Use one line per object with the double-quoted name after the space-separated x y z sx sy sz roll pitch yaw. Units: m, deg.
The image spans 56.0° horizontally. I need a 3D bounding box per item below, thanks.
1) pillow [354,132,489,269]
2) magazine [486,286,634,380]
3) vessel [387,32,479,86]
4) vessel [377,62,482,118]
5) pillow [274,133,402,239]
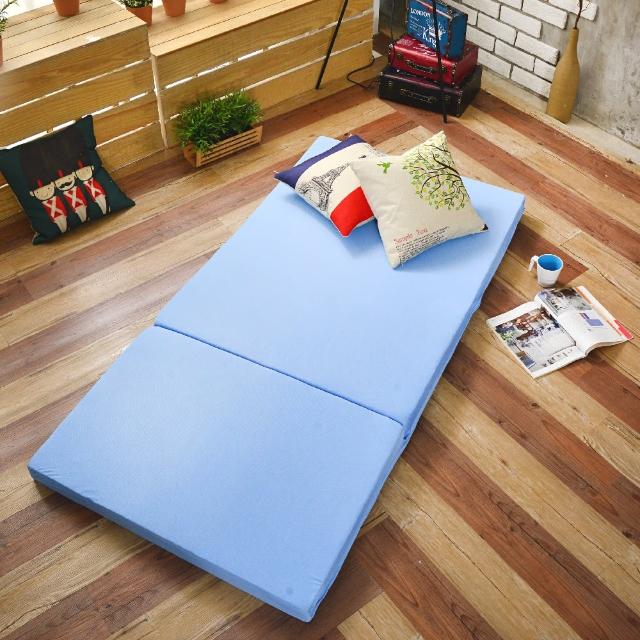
0.322 -0.490 2.487 0.594 0.168 0.472 -20 84 -27 "pillow"
0.977 0.012 2.431 0.478 0.058 0.301 -23 73 -17 "magazine"
0.692 -1.543 3.438 0.455 0.154 0.361 27 52 26 "vessel"
0.616 -1.314 3.496 0.529 0.182 0.389 21 47 22 "vessel"
0.077 -0.519 2.596 0.498 0.137 0.436 -34 59 -15 "pillow"
